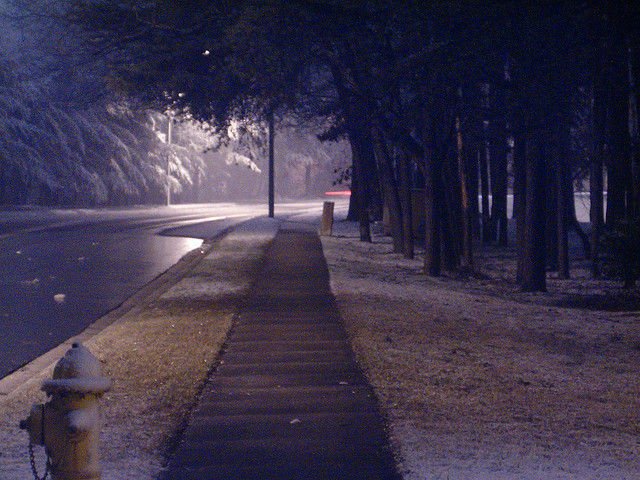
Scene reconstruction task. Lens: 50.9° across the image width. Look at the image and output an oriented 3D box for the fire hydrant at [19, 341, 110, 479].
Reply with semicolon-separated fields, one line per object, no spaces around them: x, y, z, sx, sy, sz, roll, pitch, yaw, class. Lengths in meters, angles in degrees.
-2.373;1.609;6.352;0.743;1.279;0.309;-1;6;-14;fire hydrant
